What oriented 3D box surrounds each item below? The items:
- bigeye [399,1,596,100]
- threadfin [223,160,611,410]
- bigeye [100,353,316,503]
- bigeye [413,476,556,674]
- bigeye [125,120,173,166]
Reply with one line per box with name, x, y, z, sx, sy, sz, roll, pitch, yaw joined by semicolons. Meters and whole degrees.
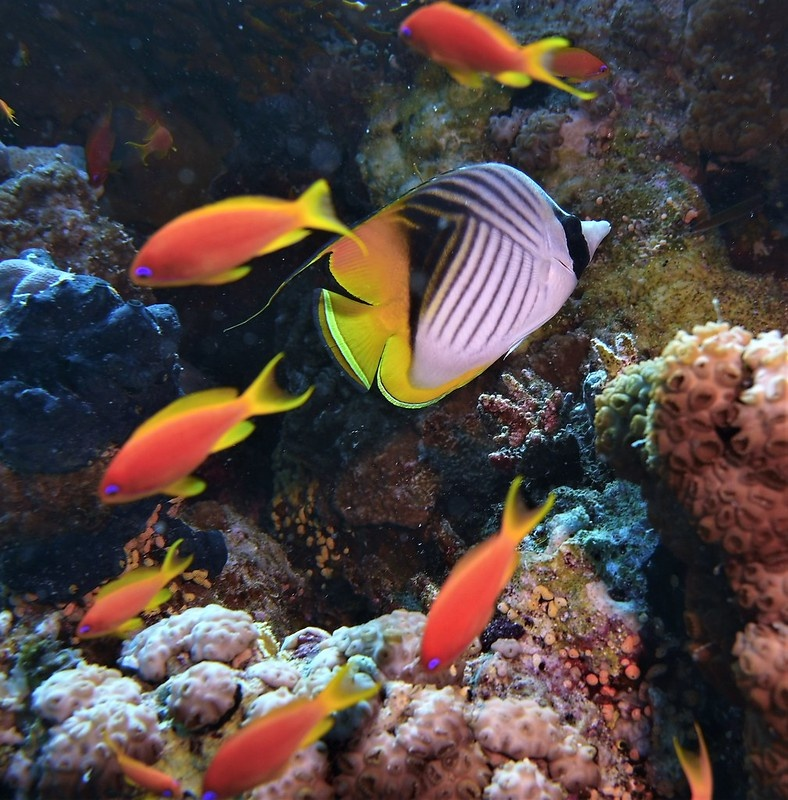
bigeye;0.348;-1.385;3.344;0.722;0.263;0.266;30;50;23
threadfin;0.220;-0.434;3.099;0.977;0.656;0.507;-27;54;-29
bigeye;-0.790;0.165;3.388;0.889;0.367;0.168;-32;36;-16
bigeye;0.282;0.656;3.050;0.439;0.702;0.624;20;27;39
bigeye;-1.609;-1.718;5.707;0.272;0.233;0.207;-19;50;-23
